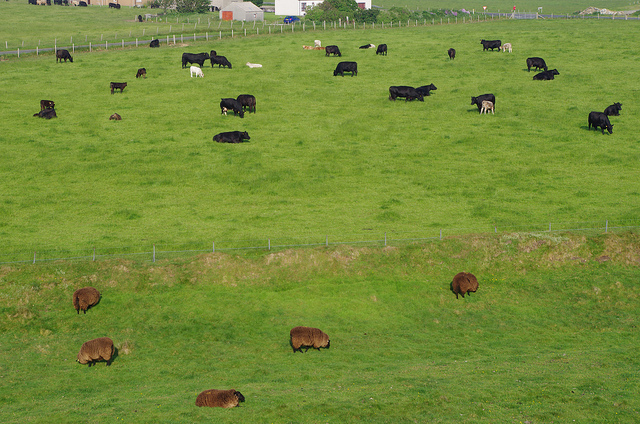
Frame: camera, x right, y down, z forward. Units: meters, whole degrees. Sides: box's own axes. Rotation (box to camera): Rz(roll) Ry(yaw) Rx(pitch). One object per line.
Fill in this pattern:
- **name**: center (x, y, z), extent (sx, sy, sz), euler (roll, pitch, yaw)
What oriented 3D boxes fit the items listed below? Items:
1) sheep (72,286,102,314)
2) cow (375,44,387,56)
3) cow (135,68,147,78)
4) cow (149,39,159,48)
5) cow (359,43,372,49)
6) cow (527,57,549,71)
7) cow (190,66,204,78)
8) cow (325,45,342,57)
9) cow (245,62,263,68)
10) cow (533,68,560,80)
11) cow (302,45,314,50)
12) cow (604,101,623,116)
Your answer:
- **sheep**: center (-21.949, 7.766, 132.518), extent (1.485, 1.652, 3.016), euler (10, 19, 20)
- **cow**: center (7.646, -19.560, 173.196), extent (1.342, 1.605, 1.298), euler (0, -12, -9)
- **cow**: center (-21.048, -16.005, 164.969), extent (1.238, 1.224, 0.744), euler (3, -13, -24)
- **cow**: center (-20.975, -20.731, 176.358), extent (0.938, 0.376, 0.737), euler (-28, -9, 35)
- **cow**: center (5.502, -20.283, 175.889), extent (1.533, 0.780, 0.763), euler (3, -13, -25)
- **cow**: center (25.756, -17.296, 167.454), extent (2.165, 1.713, 0.858), euler (-3, -12, 5)
- **cow**: center (-14.581, -16.222, 165.552), extent (1.467, 1.363, 0.837), euler (-1, -12, -6)
- **cow**: center (1.541, -19.384, 172.696), extent (1.821, 1.170, 1.023), euler (-2, -12, -2)
- **cow**: center (-8.015, -17.223, 168.031), extent (1.758, 0.680, 0.644), euler (7, 15, 5)
- **cow**: center (26.518, -15.714, 165.140), extent (3.275, 1.649, 1.065), euler (-8, 30, -8)
- **cow**: center (-1.590, -20.012, 174.657), extent (1.169, 0.666, 0.802), euler (-2, -12, -1)
- **cow**: center (32.742, -11.362, 157.024), extent (1.783, 1.457, 1.025), euler (-1, -12, -5)
